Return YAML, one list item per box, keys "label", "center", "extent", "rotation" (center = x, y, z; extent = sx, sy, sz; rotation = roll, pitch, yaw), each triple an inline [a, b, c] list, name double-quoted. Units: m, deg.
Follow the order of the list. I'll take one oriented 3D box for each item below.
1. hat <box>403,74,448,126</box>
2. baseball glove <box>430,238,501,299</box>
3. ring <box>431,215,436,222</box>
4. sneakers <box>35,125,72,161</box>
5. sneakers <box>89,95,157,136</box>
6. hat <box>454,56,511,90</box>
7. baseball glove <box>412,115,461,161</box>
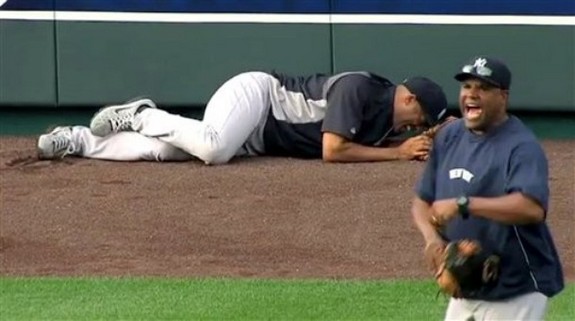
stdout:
- label: "hat"
  center: [1.314, -0.607, 9.456]
  extent: [0.476, 0.266, 0.349]
  rotation: [42, 17, -10]
- label: "baseball glove"
  center: [1.397, 0.857, 7.813]
  extent: [0.396, 0.496, 0.257]
  rotation: [14, 17, 11]
- label: "ring"
  center: [1.154, 0.458, 7.862]
  extent: [0.038, 0.048, 0.016]
  rotation: [30, 67, 25]
- label: "sneakers"
  center: [-2.185, -0.154, 9.431]
  extent: [0.205, 0.190, 0.405]
  rotation: [7, 25, 41]
- label: "sneakers"
  center: [-1.603, -0.391, 9.480]
  extent: [0.706, 0.269, 0.282]
  rotation: [-18, 53, -4]
- label: "hat"
  center: [1.550, -0.703, 7.857]
  extent: [0.371, 0.177, 0.271]
  rotation: [25, 0, -30]
- label: "baseball glove"
  center: [1.373, -0.217, 9.396]
  extent: [0.147, 0.441, 0.339]
  rotation: [21, 10, 3]
